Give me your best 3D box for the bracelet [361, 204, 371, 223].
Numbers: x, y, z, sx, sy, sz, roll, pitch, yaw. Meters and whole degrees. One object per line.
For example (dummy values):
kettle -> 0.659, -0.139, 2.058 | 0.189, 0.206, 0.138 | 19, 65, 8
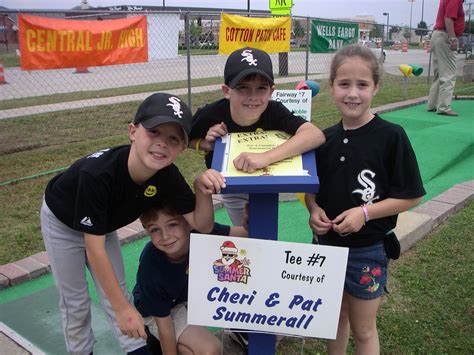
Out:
bracelet -> 0.710, 0.199, 1.955 | 0.047, 0.089, 0.095 | -8, -5, -8

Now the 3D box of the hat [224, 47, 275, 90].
hat -> 0.068, -0.672, 2.160 | 0.292, 0.212, 0.216 | -4, 22, 0

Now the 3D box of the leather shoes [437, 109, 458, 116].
leather shoes -> 4.487, -1.408, 7.623 | 0.419, 0.182, 0.160 | 6, 26, 24

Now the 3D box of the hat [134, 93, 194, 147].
hat -> -0.396, -0.322, 1.952 | 0.231, 0.177, 0.325 | 15, 5, -26

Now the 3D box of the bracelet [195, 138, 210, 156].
bracelet -> -0.228, -0.224, 2.423 | 0.090, 0.138, 0.053 | -5, -17, 3

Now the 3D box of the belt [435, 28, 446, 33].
belt -> 4.233, -3.079, 7.346 | 0.143, 0.106, 0.115 | -1, 8, -12
